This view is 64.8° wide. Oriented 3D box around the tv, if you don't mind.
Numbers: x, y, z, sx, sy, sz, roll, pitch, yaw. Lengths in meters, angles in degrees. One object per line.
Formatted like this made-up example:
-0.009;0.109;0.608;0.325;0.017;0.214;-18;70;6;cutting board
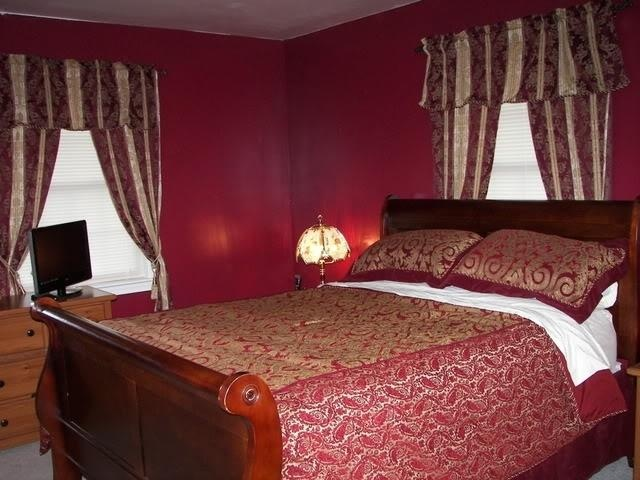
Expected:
-1.971;0.139;3.925;0.523;0.540;0.181;-10;0;15;tv

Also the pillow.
0.650;0.128;3.695;0.522;0.169;0.607;-9;22;38;pillow

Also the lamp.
0.007;0.162;4.879;0.516;0.747;0.518;0;9;13;lamp
